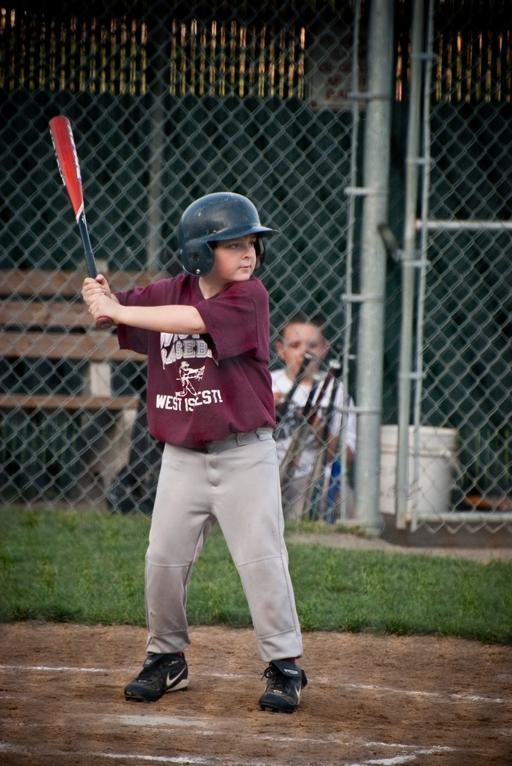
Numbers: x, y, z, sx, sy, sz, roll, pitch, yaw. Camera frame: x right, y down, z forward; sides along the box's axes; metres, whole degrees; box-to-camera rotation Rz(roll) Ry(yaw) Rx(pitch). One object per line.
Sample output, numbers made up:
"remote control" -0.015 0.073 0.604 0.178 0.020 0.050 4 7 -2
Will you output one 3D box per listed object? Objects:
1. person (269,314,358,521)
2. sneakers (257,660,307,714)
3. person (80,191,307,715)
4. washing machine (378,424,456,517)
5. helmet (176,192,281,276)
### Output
"person" 0.263 0.145 5.037 0.402 0.999 0.296 3 14 14
"sneakers" 0.065 0.786 2.777 0.106 0.114 0.112 1 7 2
"person" -0.168 0.165 2.909 0.640 1.362 0.529 1 8 3
"washing machine" 0.730 0.405 4.806 0.352 0.474 0.697 2 7 8
"helmet" -0.090 -0.401 2.856 0.233 0.216 0.145 1 8 -2
